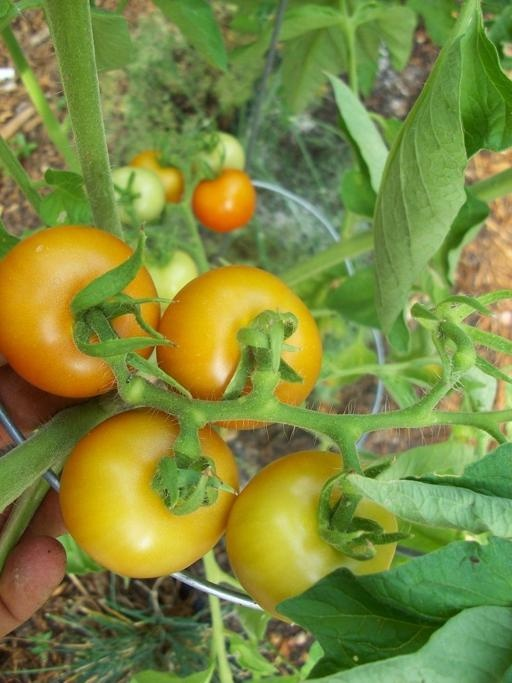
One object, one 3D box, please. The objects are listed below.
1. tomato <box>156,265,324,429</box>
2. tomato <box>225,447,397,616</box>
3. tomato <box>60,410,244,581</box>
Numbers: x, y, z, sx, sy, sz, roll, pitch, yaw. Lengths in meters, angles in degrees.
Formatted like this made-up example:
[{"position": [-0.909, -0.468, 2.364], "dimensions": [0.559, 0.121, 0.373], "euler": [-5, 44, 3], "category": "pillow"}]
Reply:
[{"position": [-0.025, 0.006, 0.492], "dimensions": [0.128, 0.117, 0.102], "euler": [3, 90, -27], "category": "tomato"}, {"position": [0.029, 0.121, 0.435], "dimensions": [0.093, 0.103, 0.094], "euler": [-22, 63, -21], "category": "tomato"}, {"position": [-0.075, 0.102, 0.433], "dimensions": [0.105, 0.095, 0.090], "euler": [37, 60, 15], "category": "tomato"}]
